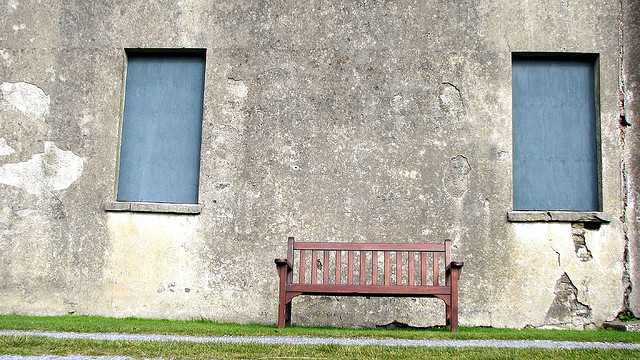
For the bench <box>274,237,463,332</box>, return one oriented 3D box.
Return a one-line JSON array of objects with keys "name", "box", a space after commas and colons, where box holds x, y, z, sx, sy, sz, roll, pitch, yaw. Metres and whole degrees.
[{"name": "bench", "box": [0.896, 2.027, 20.730, 3.516, 1.656, 1.110, 1, 1, 3]}]
